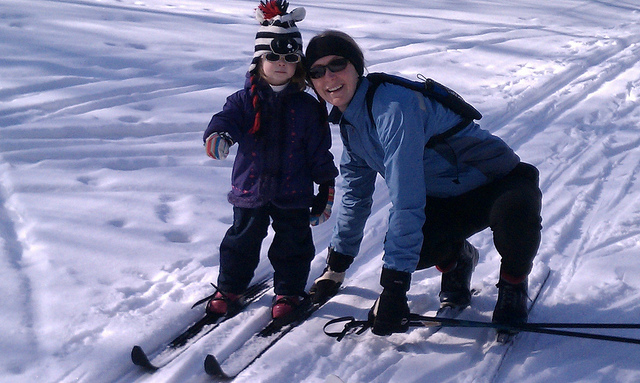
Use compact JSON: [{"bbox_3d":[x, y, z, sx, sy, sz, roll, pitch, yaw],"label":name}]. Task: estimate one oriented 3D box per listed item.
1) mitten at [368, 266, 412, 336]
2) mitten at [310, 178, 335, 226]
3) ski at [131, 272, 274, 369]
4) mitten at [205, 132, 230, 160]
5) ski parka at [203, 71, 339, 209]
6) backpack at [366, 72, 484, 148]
[{"bbox_3d":[0.611,0.922,4.632,0.330,0.557,0.188,14,24,8],"label":"mitten"},{"bbox_3d":[0.032,0.100,5.171,0.148,0.384,0.301,11,8,-43],"label":"mitten"},{"bbox_3d":[-1.060,1.174,4.930,0.170,0.158,1.225,35,51,27],"label":"ski"},{"bbox_3d":[-0.883,-0.392,4.852,0.206,0.208,0.243,-5,-11,27],"label":"mitten"},{"bbox_3d":[-0.391,-0.430,5.034,1.170,1.140,0.535,10,23,0],"label":"ski parka"},{"bbox_3d":[0.934,-0.825,4.807,0.900,0.340,0.647,19,26,8],"label":"backpack"}]
